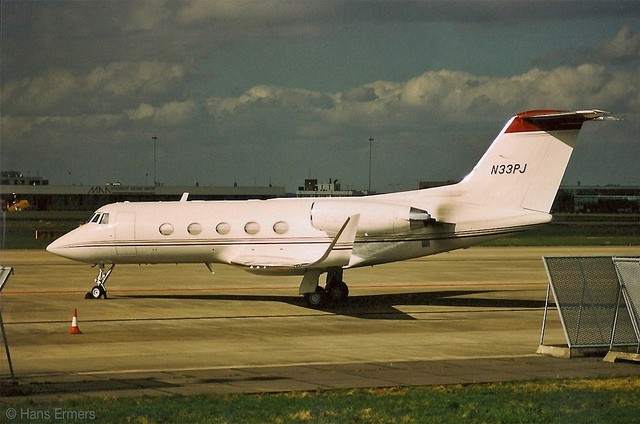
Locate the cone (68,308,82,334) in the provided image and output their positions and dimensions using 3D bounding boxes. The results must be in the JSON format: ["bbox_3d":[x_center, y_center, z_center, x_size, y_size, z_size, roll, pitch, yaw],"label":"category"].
[{"bbox_3d":[-8.321,3.719,40.386,0.455,0.800,1.549,2,-4,-12],"label":"cone"}]
